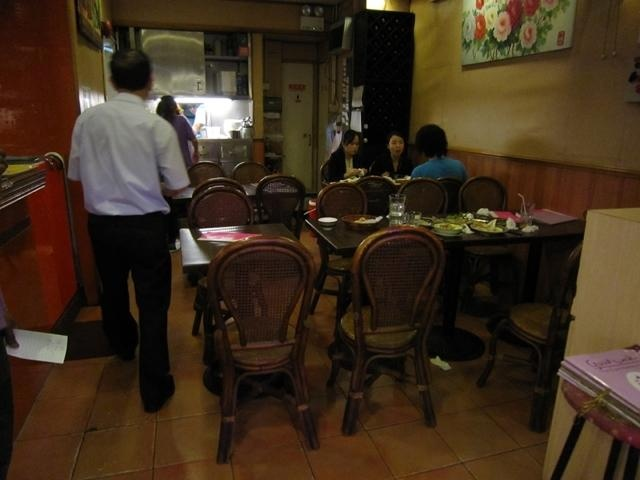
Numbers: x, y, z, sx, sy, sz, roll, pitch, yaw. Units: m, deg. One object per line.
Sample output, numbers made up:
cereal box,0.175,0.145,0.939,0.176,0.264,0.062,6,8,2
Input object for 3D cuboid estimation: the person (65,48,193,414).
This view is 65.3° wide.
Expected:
person,-1.082,0.074,2.970,0.604,1.742,0.432,12,20,34

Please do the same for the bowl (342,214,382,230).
bowl,0.285,-0.130,3.437,0.261,0.056,0.301,4,17,11

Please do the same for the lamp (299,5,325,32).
lamp,-0.124,-3.302,7.430,0.326,0.341,0.329,-5,24,-15

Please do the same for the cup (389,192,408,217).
cup,0.505,-0.240,3.372,0.134,0.166,0.144,0,14,0

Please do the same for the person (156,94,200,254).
person,-1.817,-1.087,6.210,0.540,1.629,0.443,4,39,-8
